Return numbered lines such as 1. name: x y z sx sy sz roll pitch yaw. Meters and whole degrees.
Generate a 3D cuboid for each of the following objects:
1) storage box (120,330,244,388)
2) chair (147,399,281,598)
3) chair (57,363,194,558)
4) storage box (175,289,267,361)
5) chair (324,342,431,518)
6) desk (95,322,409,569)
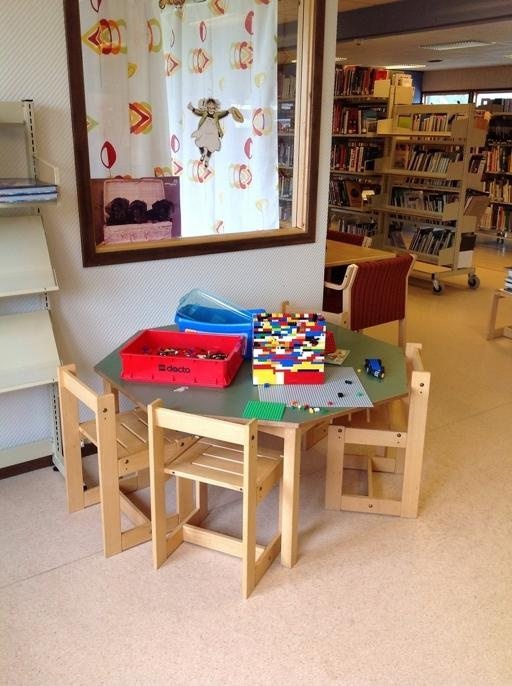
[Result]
1. storage box: -0.277 0.060 1.876 0.285 0.086 0.281 2 19 2
2. chair: -0.126 0.427 1.725 0.424 0.616 0.578 3 13 9
3. chair: -0.442 0.415 1.815 0.401 0.557 0.411 -16 31 -34
4. storage box: -0.181 -0.107 2.229 0.354 0.125 0.264 15 18 24
5. chair: 0.463 0.352 2.054 0.302 0.449 0.554 4 22 12
6. desk: 0.145 0.122 1.877 0.886 0.426 0.885 21 35 31
